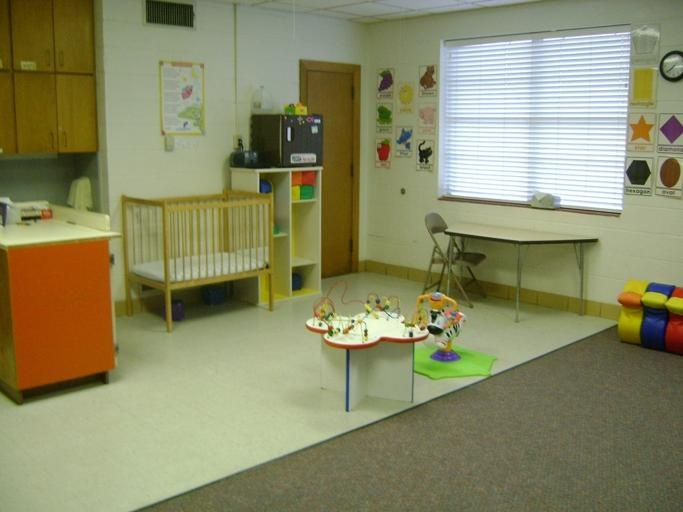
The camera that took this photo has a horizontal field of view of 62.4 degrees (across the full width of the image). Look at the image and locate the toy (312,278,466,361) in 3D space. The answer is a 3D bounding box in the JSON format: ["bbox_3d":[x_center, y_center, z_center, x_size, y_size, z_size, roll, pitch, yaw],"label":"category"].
[{"bbox_3d":[0.246,0.531,4.219,0.803,0.299,0.843,5,10,28],"label":"toy"}]
